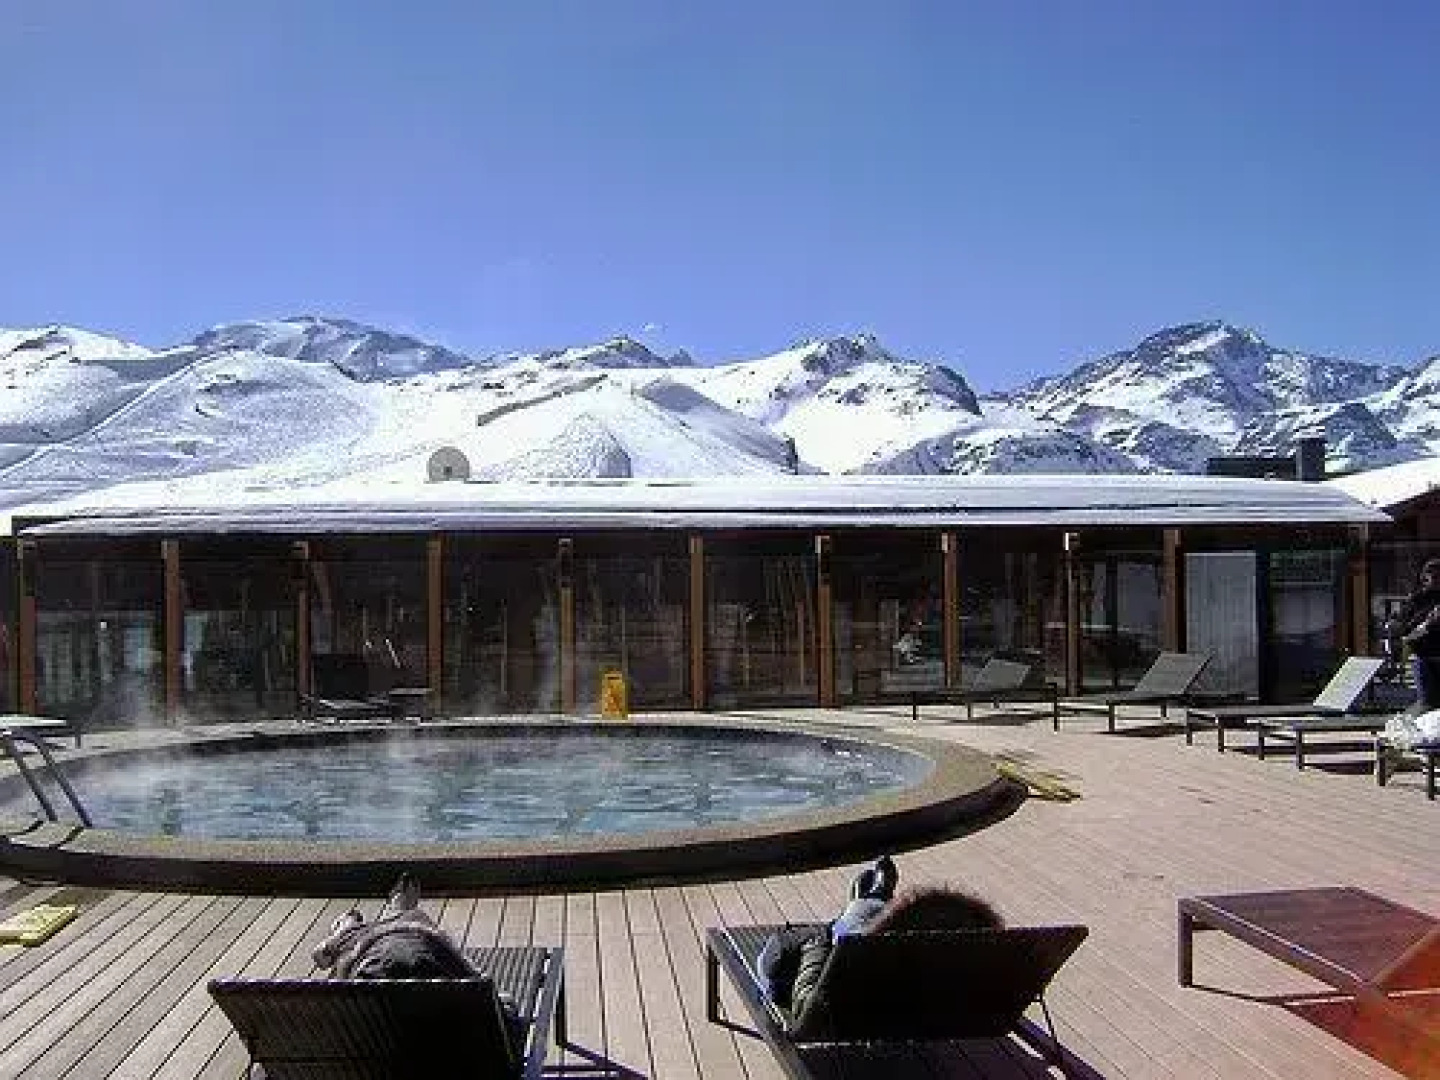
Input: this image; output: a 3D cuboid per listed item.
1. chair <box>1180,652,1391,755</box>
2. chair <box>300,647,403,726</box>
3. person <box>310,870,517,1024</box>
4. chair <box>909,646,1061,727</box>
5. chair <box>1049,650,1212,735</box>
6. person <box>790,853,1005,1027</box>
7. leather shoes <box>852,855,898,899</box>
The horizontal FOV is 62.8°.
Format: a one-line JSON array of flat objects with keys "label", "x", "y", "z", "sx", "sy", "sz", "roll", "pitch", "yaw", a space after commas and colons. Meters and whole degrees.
[{"label": "chair", "x": 5.836, "y": 1.700, "z": 12.284, "sx": 1.873, "sy": 0.677, "sz": 0.758, "roll": -4, "pitch": -1, "yaw": -1}, {"label": "chair", "x": -4.624, "y": 1.875, "z": 14.691, "sx": 0.761, "sy": 0.592, "sz": 1.051, "roll": 4, "pitch": 1, "yaw": -32}, {"label": "person", "x": -1.380, "y": 1.709, "z": 4.839, "sx": 0.816, "sy": 0.390, "sz": 1.256, "roll": 2, "pitch": -1, "yaw": -17}, {"label": "chair", "x": 3.892, "y": 1.950, "z": 16.041, "sx": 1.981, "sy": 0.686, "sz": 0.973, "roll": 5, "pitch": -7, "yaw": -37}, {"label": "chair", "x": 5.026, "y": 1.787, "z": 13.972, "sx": 2.046, "sy": 0.789, "sz": 1.002, "roll": 2, "pitch": -4, "yaw": -34}, {"label": "person", "x": 0.726, "y": 1.737, "z": 4.999, "sx": 0.879, "sy": 0.629, "sz": 0.668, "roll": -2, "pitch": -1, "yaw": 0}, {"label": "leather shoes", "x": 0.702, "y": 1.510, "z": 5.370, "sx": 0.181, "sy": 0.109, "sz": 0.277, "roll": -1, "pitch": 36, "yaw": 11}]
